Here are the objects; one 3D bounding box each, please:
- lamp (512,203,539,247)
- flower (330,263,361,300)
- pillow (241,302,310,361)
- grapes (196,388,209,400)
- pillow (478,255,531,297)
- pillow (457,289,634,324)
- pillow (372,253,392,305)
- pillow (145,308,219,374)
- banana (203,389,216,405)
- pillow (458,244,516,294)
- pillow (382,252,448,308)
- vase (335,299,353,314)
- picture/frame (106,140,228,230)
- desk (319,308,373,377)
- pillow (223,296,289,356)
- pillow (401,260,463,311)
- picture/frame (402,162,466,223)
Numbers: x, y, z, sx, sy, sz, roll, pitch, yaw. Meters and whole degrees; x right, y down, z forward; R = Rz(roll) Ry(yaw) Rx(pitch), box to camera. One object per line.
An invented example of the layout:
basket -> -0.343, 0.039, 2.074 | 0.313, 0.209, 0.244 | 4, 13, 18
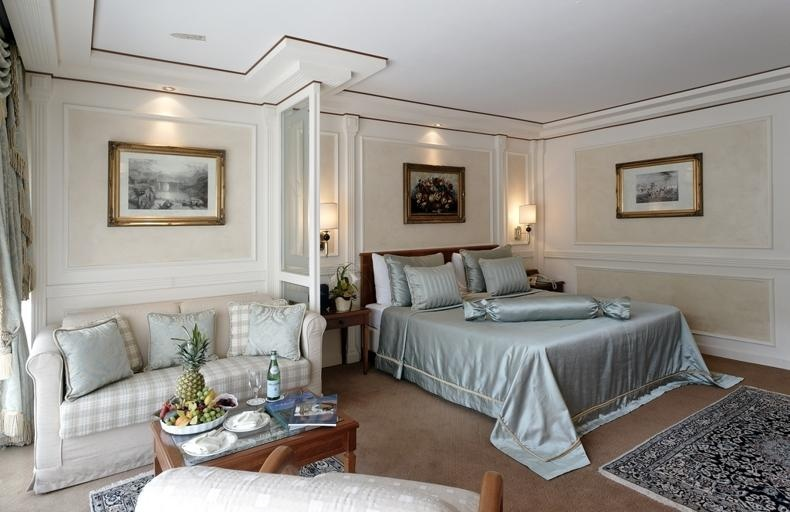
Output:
lamp -> 2.182, -0.515, 7.735 | 0.500, 0.663, 0.275 | -7, 8, -37
flower -> -0.629, 0.307, 6.064 | 0.440, 0.550, 0.419 | 2, 3, 20
pillow -> -1.219, 0.793, 4.860 | 0.556, 0.456, 0.246 | 0, 12, 5
grapes -> -1.504, 1.081, 3.720 | 0.067, 0.027, 0.066 | 0, 8, 16
pillow -> 1.447, 0.280, 6.438 | 0.533, 0.354, 0.191 | -12, 6, -29
pillow -> 1.568, 0.567, 5.172 | 1.121, 0.193, 0.658 | -3, -2, -4
pillow -> -0.176, 0.320, 6.235 | 0.162, 0.509, 0.545 | 2, -1, -13
pillow -> -2.022, 0.809, 4.464 | 0.555, 0.475, 0.201 | 2, -29, -36
banana -> -1.445, 1.095, 3.703 | 0.063, 0.108, 0.036 | 18, -38, -2
pillow -> 1.259, 0.196, 6.564 | 0.698, 0.455, 0.240 | -7, 4, -37
pillow -> 0.228, 0.289, 6.023 | 0.876, 0.606, 0.237 | -1, -7, -41
vase -> -0.634, 0.603, 5.815 | 0.181, 0.127, 0.158 | 1, -4, -6
picture/frame -> -2.548, -0.788, 5.204 | 1.116, 0.783, 0.049 | 0, 0, -34
desk -> -0.700, 1.146, 6.150 | 0.706, 0.872, 0.943 | -2, 0, -30
pillow -> -1.450, 0.749, 4.925 | 0.559, 0.509, 0.188 | -5, -15, 4
pillow -> 0.470, 0.379, 5.854 | 0.652, 0.539, 0.181 | -5, -17, -25
picture/frame -> 0.557, -0.918, 6.967 | 1.105, 0.833, 0.082 | -5, 9, -35
